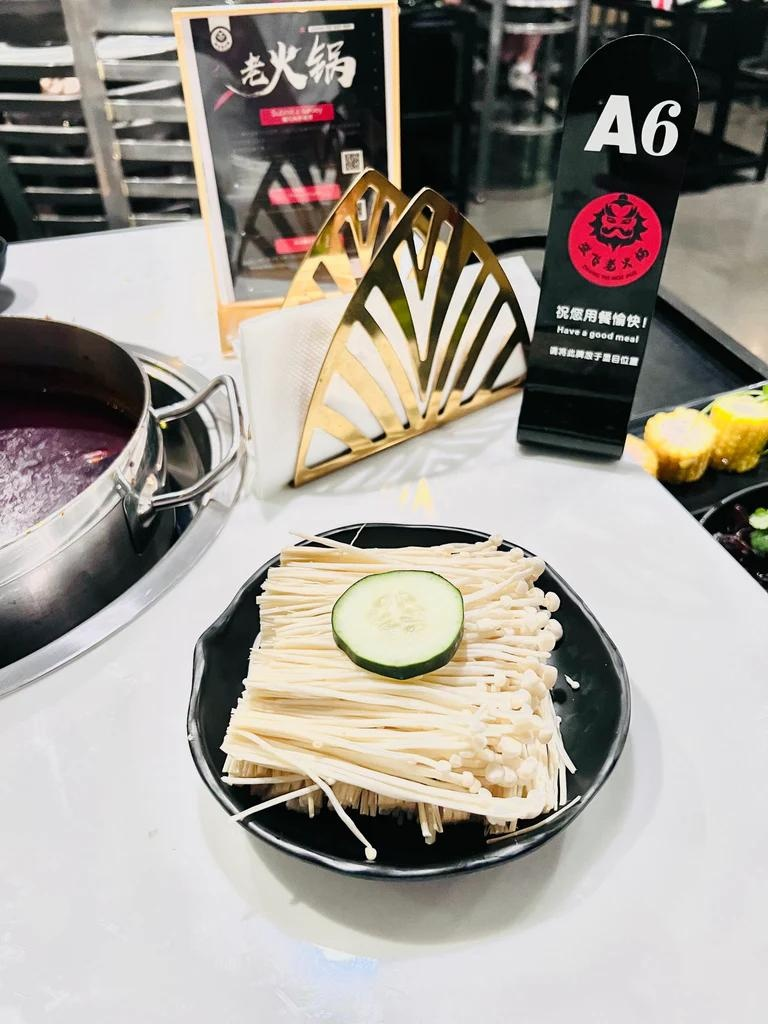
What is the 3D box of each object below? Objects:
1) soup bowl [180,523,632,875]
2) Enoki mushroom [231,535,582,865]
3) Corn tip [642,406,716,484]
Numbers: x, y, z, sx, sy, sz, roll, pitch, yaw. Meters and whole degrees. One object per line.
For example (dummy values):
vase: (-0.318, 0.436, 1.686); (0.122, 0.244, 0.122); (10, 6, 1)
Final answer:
soup bowl: (0.016, 0.183, 0.737); (0.280, 0.057, 0.285); (0, 41, 0)
Enoki mushroom: (0.019, 0.136, 0.706); (0.270, 0.088, 0.320); (3, 38, 4)
Corn tip: (0.416, -0.093, 1.189); (0.103, 0.080, 0.102); (-30, 50, -12)
